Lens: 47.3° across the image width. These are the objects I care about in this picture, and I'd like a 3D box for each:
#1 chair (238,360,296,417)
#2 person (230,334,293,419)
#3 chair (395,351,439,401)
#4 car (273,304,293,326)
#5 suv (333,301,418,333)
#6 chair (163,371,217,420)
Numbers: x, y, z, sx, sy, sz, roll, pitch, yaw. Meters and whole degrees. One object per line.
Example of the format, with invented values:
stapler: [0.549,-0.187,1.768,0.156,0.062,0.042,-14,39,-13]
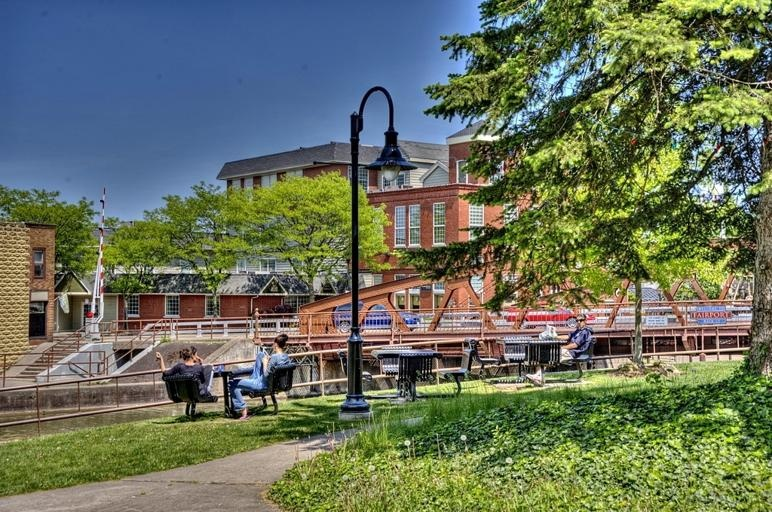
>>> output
chair: [-2.763,2.821,19.575,1.187,1.236,1.038,8,15,-20]
person: [-2.879,2.733,19.435,1.178,2.009,0.772,6,-15,10]
chair: [0.668,2.781,20.417,0.980,1.048,1.033,0,-6,-5]
car: [-5.764,3.369,49.337,1.221,1.084,2.837,0,-11,-2]
suv: [-0.533,2.774,37.827,2.968,0.870,1.809,0,-1,0]
chair: [-4.381,3.124,19.682,0.783,0.928,1.020,-4,-10,17]
